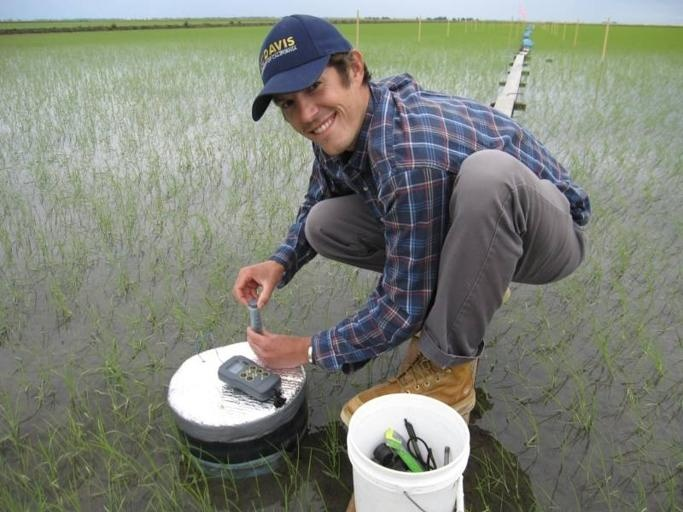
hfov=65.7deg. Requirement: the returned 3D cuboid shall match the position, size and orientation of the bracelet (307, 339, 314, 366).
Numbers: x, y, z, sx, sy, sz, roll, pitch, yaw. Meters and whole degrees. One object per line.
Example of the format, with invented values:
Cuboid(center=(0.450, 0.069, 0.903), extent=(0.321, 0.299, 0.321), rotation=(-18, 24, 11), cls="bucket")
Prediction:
Cuboid(center=(-0.155, 0.476, 2.647), extent=(0.039, 0.095, 0.088), rotation=(0, 19, 2), cls="bracelet")
